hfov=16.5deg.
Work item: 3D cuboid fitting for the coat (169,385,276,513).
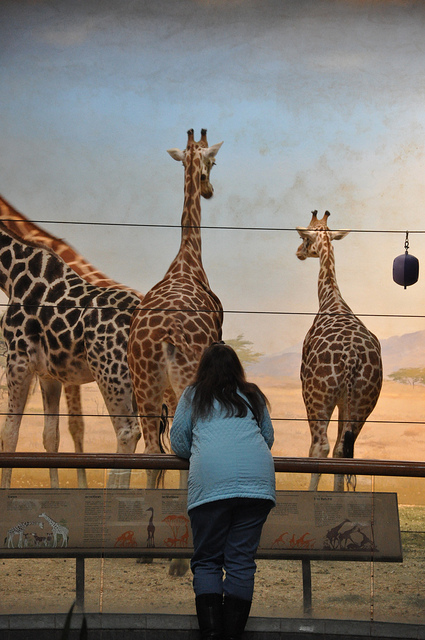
[{"bbox_3d":[0.041,0.565,6.525,0.474,0.600,0.358,2,-21,-17],"label":"coat"}]

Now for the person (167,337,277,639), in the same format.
[{"bbox_3d":[0.028,0.741,6.433,0.459,1.254,0.321,0,2,-2],"label":"person"}]
